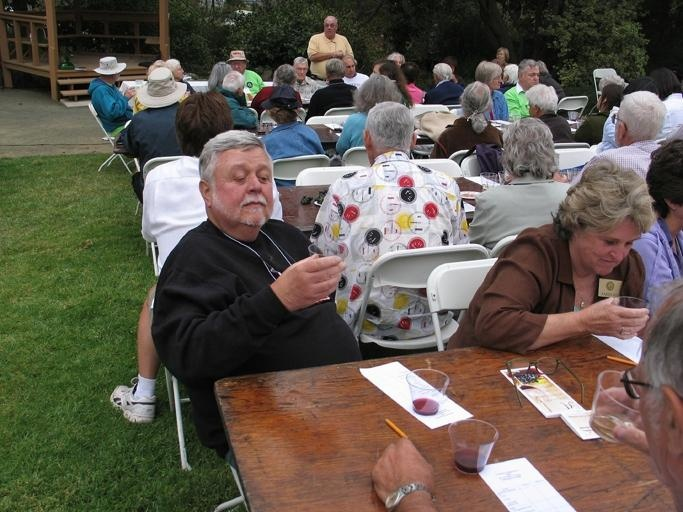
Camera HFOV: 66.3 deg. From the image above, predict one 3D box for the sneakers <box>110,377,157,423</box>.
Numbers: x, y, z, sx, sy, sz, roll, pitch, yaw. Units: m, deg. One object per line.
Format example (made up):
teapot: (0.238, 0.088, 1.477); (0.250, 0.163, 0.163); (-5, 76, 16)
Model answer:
sneakers: (-1.279, 0.879, 3.219); (0.377, 0.182, 0.167); (16, 10, 41)

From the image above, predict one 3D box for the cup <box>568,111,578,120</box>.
cup: (3.301, -1.995, 7.499); (0.142, 0.155, 0.132); (-1, 13, 0)

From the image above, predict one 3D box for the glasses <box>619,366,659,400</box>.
glasses: (0.718, 0.320, 1.296); (0.083, 0.031, 0.086); (7, 11, -33)

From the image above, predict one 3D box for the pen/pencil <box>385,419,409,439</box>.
pen/pencil: (0.179, 0.573, 1.738); (0.023, 0.019, 0.119); (2, 16, -22)

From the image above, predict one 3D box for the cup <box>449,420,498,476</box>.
cup: (0.403, 0.577, 1.620); (0.133, 0.109, 0.143); (1, 14, 0)

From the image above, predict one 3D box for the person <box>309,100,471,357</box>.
person: (0.311, -0.291, 3.304); (0.866, 1.346, 0.922); (9, 32, 16)

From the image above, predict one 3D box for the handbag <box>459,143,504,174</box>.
handbag: (1.346, -0.919, 5.117); (0.337, 0.262, 0.500); (-2, 17, -7)

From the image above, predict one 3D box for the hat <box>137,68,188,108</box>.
hat: (-1.788, -1.691, 5.256); (0.436, 0.242, 0.518); (-6, 31, -7)

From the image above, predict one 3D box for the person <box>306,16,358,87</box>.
person: (-0.217, -4.252, 10.905); (0.863, 1.276, 0.730); (-2, 26, -10)

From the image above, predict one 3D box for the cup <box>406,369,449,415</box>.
cup: (0.310, 0.487, 1.905); (0.128, 0.109, 0.138); (1, 5, 0)
